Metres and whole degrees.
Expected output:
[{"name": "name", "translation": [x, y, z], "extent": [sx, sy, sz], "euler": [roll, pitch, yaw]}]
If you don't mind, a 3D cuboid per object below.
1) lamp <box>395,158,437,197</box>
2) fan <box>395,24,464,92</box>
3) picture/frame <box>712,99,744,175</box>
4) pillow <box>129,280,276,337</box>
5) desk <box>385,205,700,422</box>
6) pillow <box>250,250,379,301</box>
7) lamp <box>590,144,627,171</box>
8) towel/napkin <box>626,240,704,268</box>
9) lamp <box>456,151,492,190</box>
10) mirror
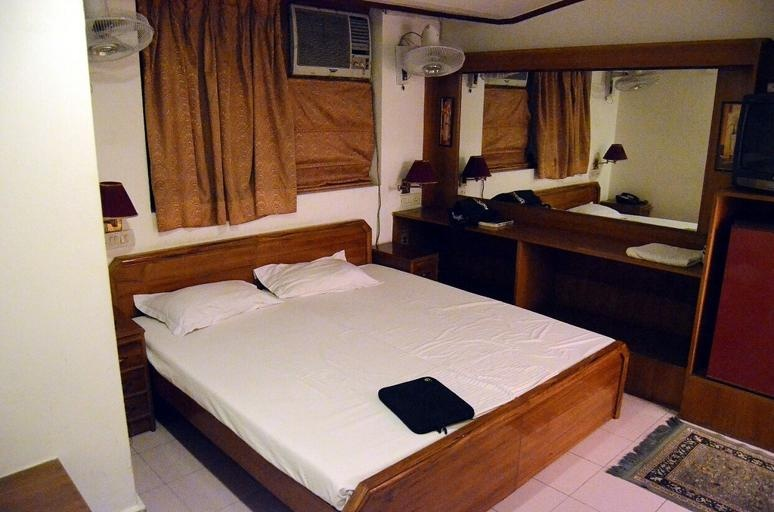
[{"name": "lamp", "translation": [0.306, -0.770, 5.327], "extent": [0.328, 0.358, 0.392], "euler": [-14, 20, -41]}, {"name": "fan", "translation": [0.340, -1.729, 4.720], "extent": [0.533, 0.524, 1.113], "euler": [-2, 20, 1]}, {"name": "picture/frame", "translation": [2.511, -0.871, 3.955], "extent": [0.117, 0.502, 0.158], "euler": [6, 23, 22]}, {"name": "pillow", "translation": [-1.303, 0.362, 3.968], "extent": [0.608, 0.121, 0.483], "euler": [-11, 25, -42]}, {"name": "desk", "translation": [1.381, 0.352, 4.901], "extent": [3.033, 1.261, 0.917], "euler": [12, 17, 36]}, {"name": "pillow", "translation": [-0.610, 0.193, 4.479], "extent": [0.587, 0.097, 0.477], "euler": [-9, 25, -27]}, {"name": "lamp", "translation": [1.903, -0.844, 4.603], "extent": [0.154, 0.202, 0.222], "euler": [-7, 13, -28]}, {"name": "towel/napkin", "translation": [2.113, -0.017, 4.087], "extent": [0.517, 0.060, 0.416], "euler": [9, 23, 28]}, {"name": "lamp", "translation": [0.859, -0.843, 5.312], "extent": [0.253, 0.220, 0.259], "euler": [-14, 21, -37]}, {"name": "mirror", "translation": [1.771, -0.893, 4.608], "extent": [1.682, 0.954, 0.079], "euler": [17, 30, 35]}]
